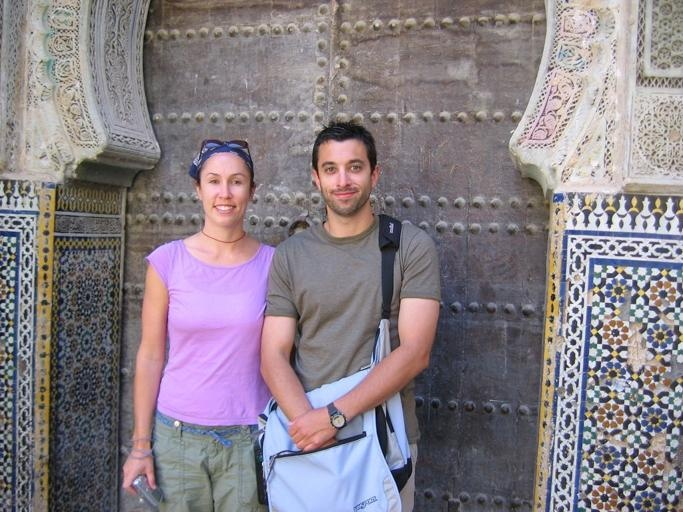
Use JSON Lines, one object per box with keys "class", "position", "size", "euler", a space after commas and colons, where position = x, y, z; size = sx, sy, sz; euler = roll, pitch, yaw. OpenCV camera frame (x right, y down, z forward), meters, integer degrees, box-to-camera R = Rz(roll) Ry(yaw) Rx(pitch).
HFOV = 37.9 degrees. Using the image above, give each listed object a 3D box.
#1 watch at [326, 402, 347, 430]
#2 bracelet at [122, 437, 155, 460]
{"class": "watch", "position": [-0.018, 0.626, 3.874], "size": [0.063, 0.105, 0.093], "euler": [-27, 4, -5]}
{"class": "bracelet", "position": [-0.835, 0.806, 4.115], "size": [0.106, 0.111, 0.066], "euler": [-13, -18, 38]}
